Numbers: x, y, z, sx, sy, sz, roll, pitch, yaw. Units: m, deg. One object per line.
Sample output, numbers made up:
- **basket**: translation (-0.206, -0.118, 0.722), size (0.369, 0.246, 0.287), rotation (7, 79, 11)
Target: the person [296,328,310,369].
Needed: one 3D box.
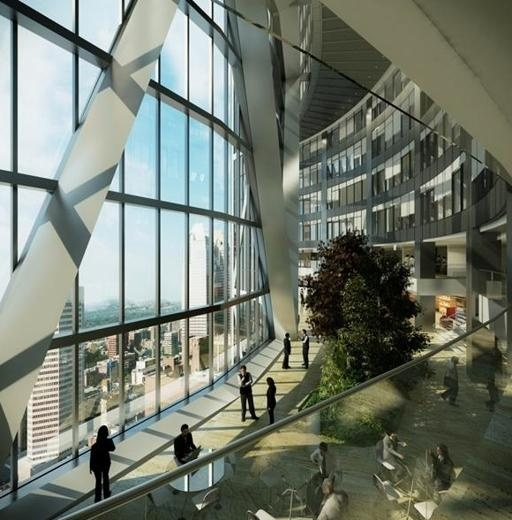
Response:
- **person**: translation (1.833, 3.181, 17.727), size (0.393, 1.281, 1.769), rotation (8, 4, 7)

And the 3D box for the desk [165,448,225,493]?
- **desk**: translation (-0.475, 1.751, 3.906), size (0.534, 0.289, 0.170), rotation (8, 3, -35)

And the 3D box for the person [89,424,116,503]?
- **person**: translation (-2.725, 3.513, 8.450), size (0.421, 0.916, 0.792), rotation (7, 4, -15)
